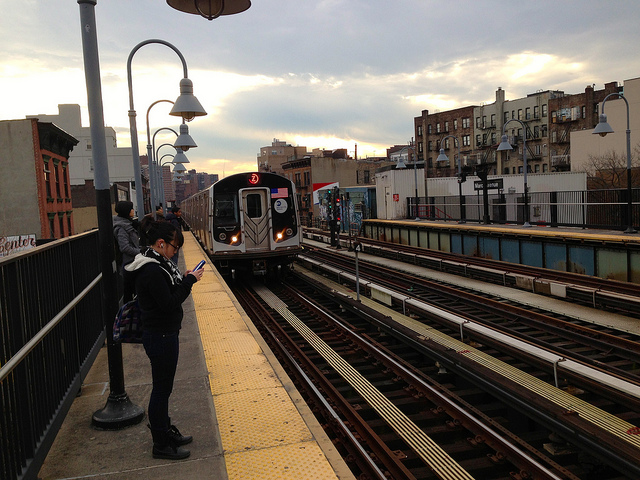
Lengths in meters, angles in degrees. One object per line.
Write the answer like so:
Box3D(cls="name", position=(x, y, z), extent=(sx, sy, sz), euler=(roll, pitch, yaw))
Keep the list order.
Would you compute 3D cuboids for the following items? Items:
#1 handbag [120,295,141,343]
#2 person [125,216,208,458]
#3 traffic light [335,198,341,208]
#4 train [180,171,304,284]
Box3D(cls="handbag", position=(-2.157, 0.952, 5.198), extent=(0.289, 0.533, 0.382), euler=(-1, -23, -14))
Box3D(cls="person", position=(-1.705, 1.098, 4.914), extent=(0.677, 2.609, 0.409), euler=(-1, 5, -24))
Box3D(cls="traffic light", position=(1.139, -2.388, 28.416), extent=(0.415, 0.802, 0.790), euler=(-1, 7, 10))
Box3D(cls="train", position=(-2.757, -0.381, 18.342), extent=(3.829, 4.595, 3.150), euler=(1, 5, -11))
